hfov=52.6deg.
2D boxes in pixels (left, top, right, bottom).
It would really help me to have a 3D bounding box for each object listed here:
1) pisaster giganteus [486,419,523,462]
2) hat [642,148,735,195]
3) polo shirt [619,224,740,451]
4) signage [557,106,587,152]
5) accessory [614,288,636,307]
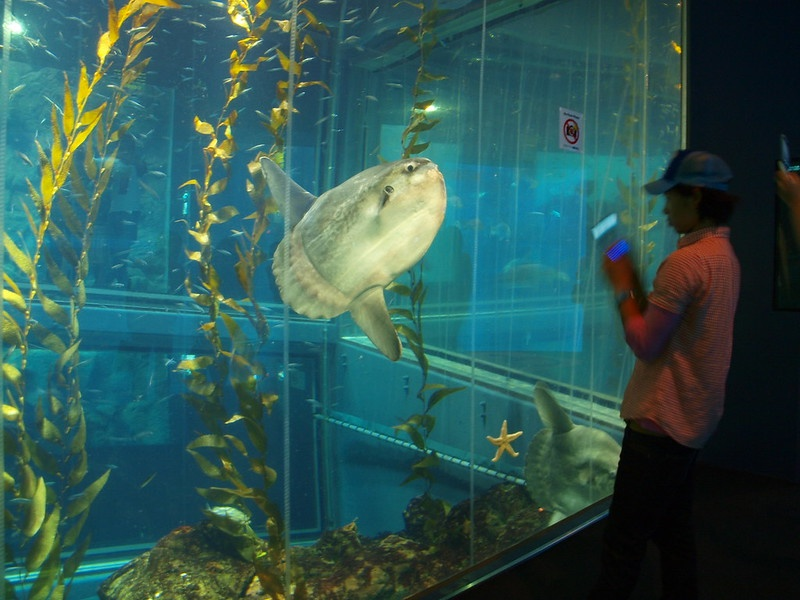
[{"bbox_3d":[0.527,0.723,4.141,0.231,0.198,0.027,-15,-7,-24],"label":"pisaster giganteus"},{"bbox_3d":[1.199,-0.518,3.366,0.438,0.191,0.274,3,4,6],"label":"hat"},{"bbox_3d":[1.116,0.149,3.253,0.400,0.880,0.181,1,2,14],"label":"polo shirt"},{"bbox_3d":[0.915,-0.915,4.340,0.272,0.271,0.022,7,-9,-37],"label":"signage"},{"bbox_3d":[0.913,-0.007,3.285,0.059,0.070,0.042,12,-1,22],"label":"accessory"}]
